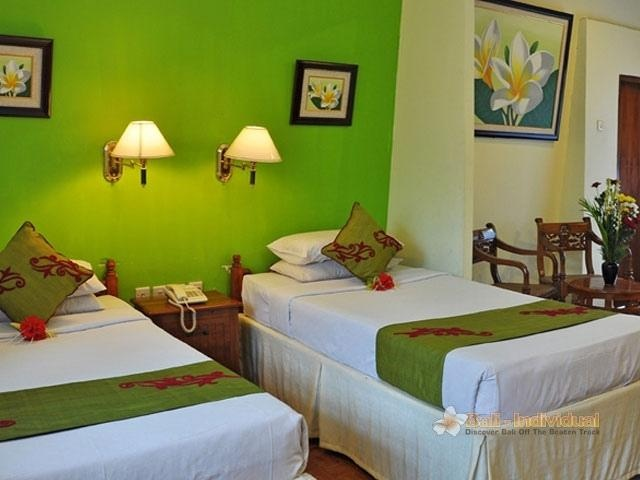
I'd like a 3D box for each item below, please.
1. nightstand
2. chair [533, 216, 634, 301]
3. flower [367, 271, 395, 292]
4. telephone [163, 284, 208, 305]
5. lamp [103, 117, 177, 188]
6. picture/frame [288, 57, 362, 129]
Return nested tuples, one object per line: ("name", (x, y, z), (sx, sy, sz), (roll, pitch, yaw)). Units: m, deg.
("nightstand", (-0.965, 0.593, 3.717), (0.697, 0.736, 0.514), (-5, 14, -35))
("chair", (2.614, 0.191, 5.113), (0.753, 1.253, 0.729), (-2, 1, -18))
("flower", (0.473, 0.325, 3.782), (0.135, 0.074, 0.138), (-5, 11, -30))
("telephone", (-1.010, 0.396, 3.655), (0.161, 0.075, 0.231), (2, 11, -34))
("lamp", (-1.307, -0.620, 3.533), (0.501, 0.508, 0.410), (12, 14, 41))
("picture/frame", (0.008, -1.297, 4.362), (0.611, 0.593, 0.051), (2, 11, -36))
